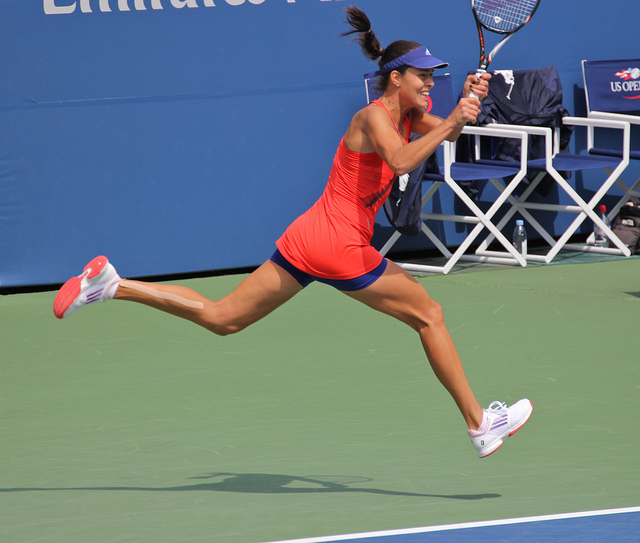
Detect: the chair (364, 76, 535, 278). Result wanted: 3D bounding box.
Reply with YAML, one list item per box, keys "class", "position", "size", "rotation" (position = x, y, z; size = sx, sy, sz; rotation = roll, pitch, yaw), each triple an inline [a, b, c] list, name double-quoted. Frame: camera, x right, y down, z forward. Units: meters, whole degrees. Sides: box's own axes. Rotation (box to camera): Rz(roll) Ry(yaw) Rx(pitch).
- class: "chair"
  position: [1.097, -0.951, 7.907]
  size: [2.203, 1.813, 1.910]
  rotation: [-7, 9, -12]

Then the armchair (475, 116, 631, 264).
- class: "armchair"
  position: [2.428, -0.890, 8.274]
  size: [2.129, 1.460, 1.195]
  rotation: [0, 19, 0]

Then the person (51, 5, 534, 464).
- class: "person"
  position: [-0.011, -0.136, 3.460]
  size: [1.836, 2.029, 0.810]
  rotation: [0, 15, 11]
